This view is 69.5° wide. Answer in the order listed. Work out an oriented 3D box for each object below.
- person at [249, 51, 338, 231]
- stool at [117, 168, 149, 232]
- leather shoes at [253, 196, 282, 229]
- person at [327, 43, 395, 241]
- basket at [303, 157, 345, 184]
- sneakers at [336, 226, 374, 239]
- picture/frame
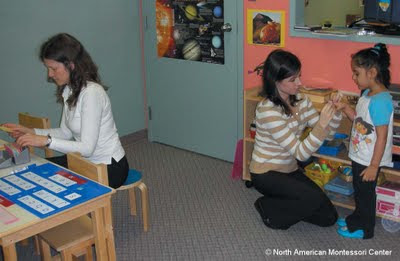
[{"bbox_3d":[0.801,0.124,2.456,0.742,1.546,0.430,1,21,9],"label":"person"},{"bbox_3d":[-0.624,0.660,2.682,0.252,0.317,0.250,-13,-1,31],"label":"stool"},{"bbox_3d":[0.603,0.740,2.674,0.156,0.361,0.124,-27,2,-39],"label":"leather shoes"},{"bbox_3d":[1.320,0.120,2.351,0.314,1.554,0.406,5,22,19],"label":"person"},{"bbox_3d":[1.230,0.347,2.872,0.221,0.126,0.335,14,24,36],"label":"basket"},{"bbox_3d":[1.286,0.872,2.450,0.232,0.091,0.091,7,11,21],"label":"sneakers"},{"bbox_3d":[0.723,-1.115,3.136,0.463,0.344,0.006,11,21,32],"label":"picture/frame"}]
